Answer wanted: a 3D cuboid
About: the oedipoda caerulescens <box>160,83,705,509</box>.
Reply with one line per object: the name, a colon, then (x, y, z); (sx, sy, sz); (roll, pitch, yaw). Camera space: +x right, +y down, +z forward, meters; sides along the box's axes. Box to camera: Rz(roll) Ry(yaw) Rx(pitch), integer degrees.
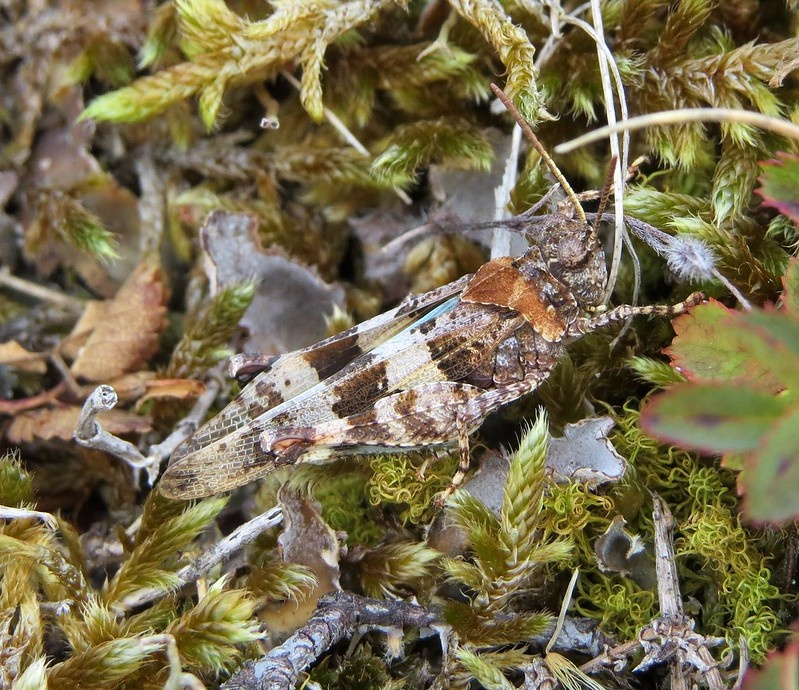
oedipoda caerulescens: (0.040, 0.079, 2.850); (1.537, 0.395, 0.561); (-28, 56, 4)
